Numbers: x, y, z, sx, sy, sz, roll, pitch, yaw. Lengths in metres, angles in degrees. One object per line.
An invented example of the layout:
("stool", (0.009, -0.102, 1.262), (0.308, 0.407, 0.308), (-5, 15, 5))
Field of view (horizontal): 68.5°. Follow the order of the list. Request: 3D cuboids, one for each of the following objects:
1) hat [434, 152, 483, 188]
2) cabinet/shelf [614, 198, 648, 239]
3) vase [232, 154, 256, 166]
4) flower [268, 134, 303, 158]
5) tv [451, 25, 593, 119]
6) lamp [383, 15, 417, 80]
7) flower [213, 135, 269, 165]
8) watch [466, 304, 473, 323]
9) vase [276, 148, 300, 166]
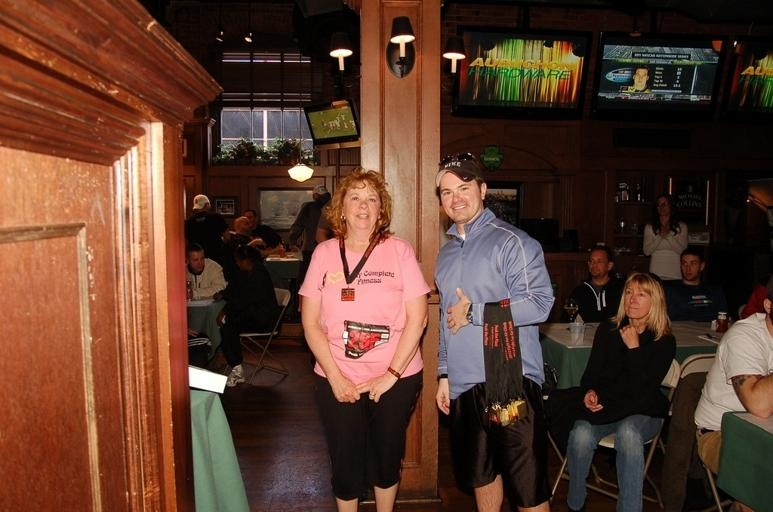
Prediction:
("hat", (0.349, -0.378, 2.518), (0.205, 0.143, 0.330), (-5, -1, 24))
("cabinet/shelf", (3.486, -0.529, 8.108), (0.680, 0.619, 0.223), (1, -4, -5))
("vase", (-2.509, -1.674, 10.020), (0.410, 0.171, 0.086), (-2, 2, 7))
("flower", (-1.762, -1.931, 10.107), (0.438, 0.269, 0.462), (12, 15, 36))
("tv", (1.672, -2.303, 7.105), (1.827, 1.059, 0.181), (0, 26, -6))
("lamp", (0.082, -1.145, 3.119), (0.172, 0.276, 0.187), (-2, 2, 1))
("flower", (-2.603, -1.803, 10.103), (0.609, 0.329, 0.618), (3, 6, 45))
("watch", (0.344, 0.242, 2.352), (0.024, 0.057, 0.046), (8, 0, 9))
("vase", (-1.708, -1.727, 9.920), (0.371, 0.214, 0.331), (-1, 4, -2))
